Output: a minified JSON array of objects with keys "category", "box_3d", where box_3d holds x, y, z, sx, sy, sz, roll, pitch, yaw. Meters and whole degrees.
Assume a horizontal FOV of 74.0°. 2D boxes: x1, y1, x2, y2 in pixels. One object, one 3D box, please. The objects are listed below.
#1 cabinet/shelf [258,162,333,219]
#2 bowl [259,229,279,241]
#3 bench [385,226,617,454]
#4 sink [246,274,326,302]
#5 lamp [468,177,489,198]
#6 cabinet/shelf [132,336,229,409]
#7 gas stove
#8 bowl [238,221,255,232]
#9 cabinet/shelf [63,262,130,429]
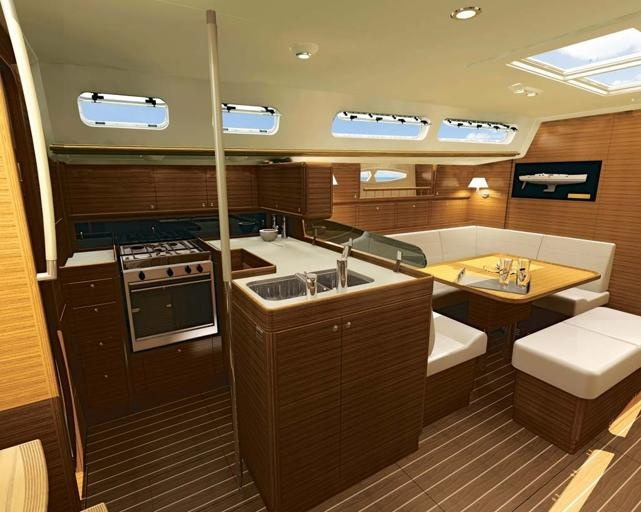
[{"category":"cabinet/shelf","box_3d":[-0.249,-0.624,3.913,0.337,0.419,0.949,-7,14,-28]},{"category":"bowl","box_3d":[-0.500,-0.208,4.055,0.166,0.108,0.199,-3,14,-4]},{"category":"bench","box_3d":[2.018,0.752,4.581,1.845,0.722,1.942,-9,17,-34]},{"category":"sink","box_3d":[-0.263,0.205,2.758,0.327,0.096,0.232,-7,17,-29]},{"category":"lamp","box_3d":[2.257,-0.986,6.075,0.268,0.265,0.259,-7,24,-17]},{"category":"cabinet/shelf","box_3d":[-1.044,1.015,3.560,0.885,0.500,0.460,-19,-25,13]},{"category":"gas stove","box_3d":[-1.315,-0.004,3.515,0.672,0.183,0.691,-8,15,-25]},{"category":"bowl","box_3d":[-0.751,-0.288,4.225,0.129,0.073,0.115,1,17,6]},{"category":"cabinet/shelf","box_3d":[-1.608,0.641,3.095,0.407,1.170,0.189,-10,18,-23]}]
